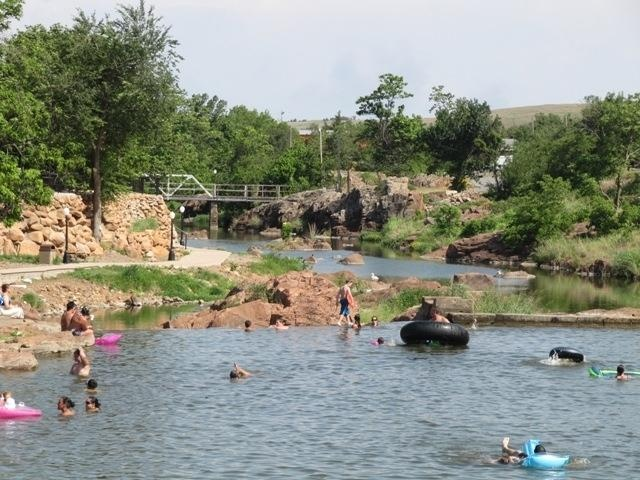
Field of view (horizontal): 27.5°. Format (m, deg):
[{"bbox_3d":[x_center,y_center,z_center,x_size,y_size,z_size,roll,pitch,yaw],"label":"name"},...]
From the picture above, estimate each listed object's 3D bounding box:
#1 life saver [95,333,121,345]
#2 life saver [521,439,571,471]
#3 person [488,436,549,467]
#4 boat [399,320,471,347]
[{"bbox_3d":[-9.506,4.486,58.110,1.142,0.408,1.018,-2,5,-10],"label":"life saver"},{"bbox_3d":[8.288,8.117,48.516,1.678,0.925,0.602,-1,5,9],"label":"life saver"},{"bbox_3d":[7.531,7.966,48.607,1.348,0.540,1.094,2,0,25],"label":"person"},{"bbox_3d":[5.053,4.270,57.845,3.234,1.089,3.316,1,4,-26],"label":"boat"}]
